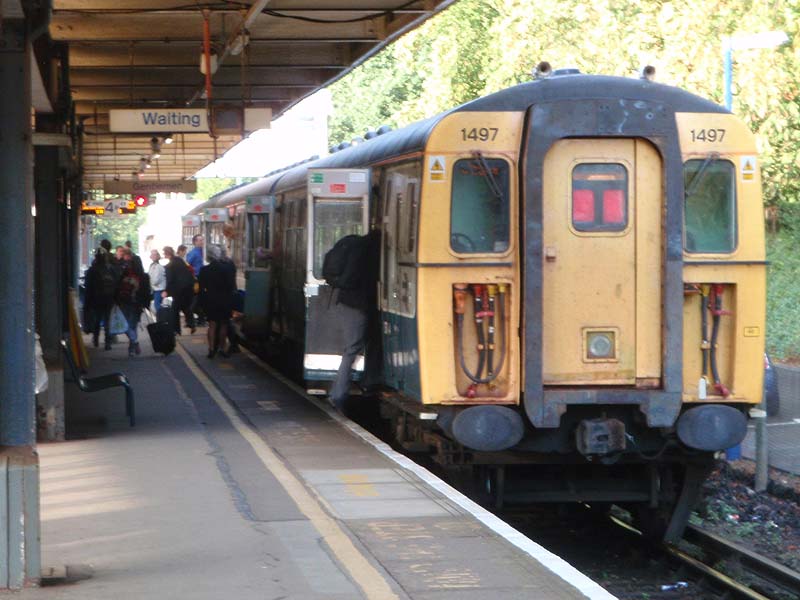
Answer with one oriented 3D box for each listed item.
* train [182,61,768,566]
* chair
[{"bbox_3d":[0.710,0.028,10.302,3.038,5.045,6.671,-1,3,-26],"label":"train"},{"bbox_3d":[-3.779,1.052,10.570,0.817,1.139,0.646,-3,7,-21],"label":"chair"}]
